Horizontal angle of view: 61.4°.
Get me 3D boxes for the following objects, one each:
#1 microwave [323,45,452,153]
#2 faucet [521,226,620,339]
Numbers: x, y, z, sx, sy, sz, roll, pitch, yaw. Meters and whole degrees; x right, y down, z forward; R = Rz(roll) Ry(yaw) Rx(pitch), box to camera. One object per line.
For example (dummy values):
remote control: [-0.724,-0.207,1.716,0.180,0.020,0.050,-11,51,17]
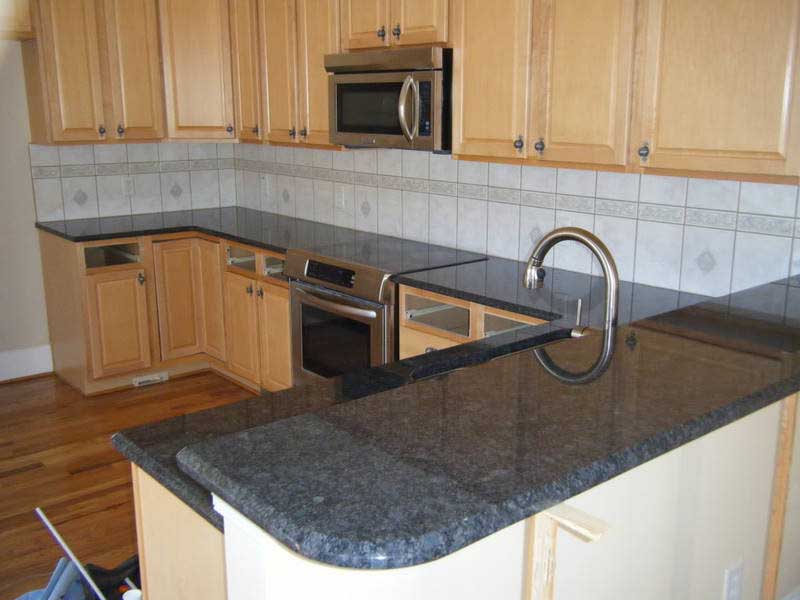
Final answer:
microwave: [-0.015,-1.056,3.598,0.754,0.464,0.445,14,21,40]
faucet: [0.544,-0.071,2.147,0.286,0.333,0.168,2,14,14]
